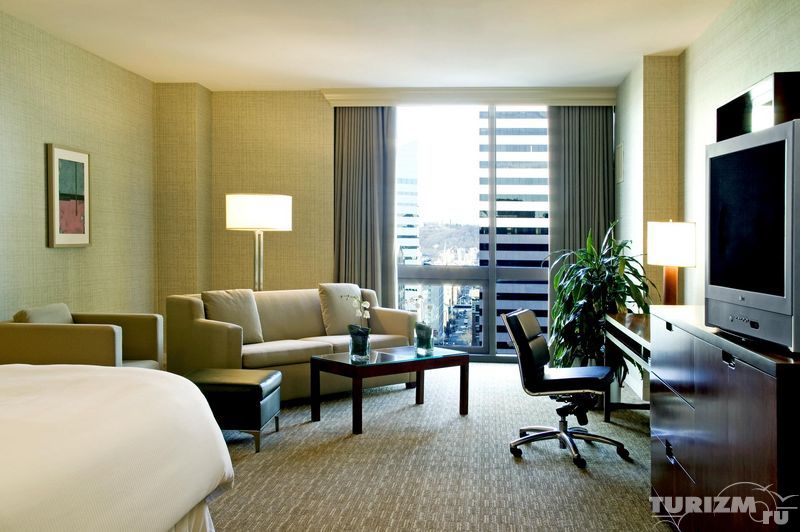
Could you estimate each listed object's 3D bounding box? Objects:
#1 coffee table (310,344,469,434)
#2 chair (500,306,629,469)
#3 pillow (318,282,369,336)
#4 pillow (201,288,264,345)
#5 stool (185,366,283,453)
[{"bbox_3d":[-0.094,0.992,4.931,1.302,0.606,0.613,-5,3,-24],"label":"coffee table"},{"bbox_3d":[1.115,0.769,4.271,0.957,1.119,1.010,-2,-3,21],"label":"chair"},{"bbox_3d":[-0.578,0.429,5.766,0.490,0.444,0.243,0,1,-43],"label":"pillow"},{"bbox_3d":[-1.504,0.459,5.249,0.204,0.398,0.425,-12,-11,36],"label":"pillow"},{"bbox_3d":[-1.198,0.968,4.244,0.562,0.448,0.564,0,-4,5],"label":"stool"}]
